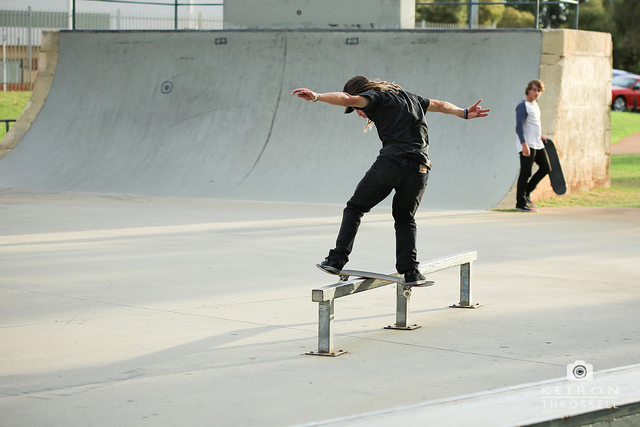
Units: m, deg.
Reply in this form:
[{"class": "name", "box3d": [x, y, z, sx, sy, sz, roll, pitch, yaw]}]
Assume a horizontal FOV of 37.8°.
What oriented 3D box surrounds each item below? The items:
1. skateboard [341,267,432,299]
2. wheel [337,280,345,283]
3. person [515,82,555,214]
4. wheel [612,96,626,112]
[{"class": "skateboard", "box3d": [0.741, 0.788, 10.340, 1.357, 0.139, 0.250, 9, 26, -6]}, {"class": "wheel", "box3d": [0.235, 0.740, 10.084, 0.142, 0.024, 0.108, 0, -1, 0]}, {"class": "person", "box3d": [3.476, -1.076, 15.257, 0.507, 2.143, 0.566, 8, 10, 24]}, {"class": "wheel", "box3d": [9.729, -3.584, 30.346, 0.605, 0.406, 0.515, -1, -11, 19]}]
